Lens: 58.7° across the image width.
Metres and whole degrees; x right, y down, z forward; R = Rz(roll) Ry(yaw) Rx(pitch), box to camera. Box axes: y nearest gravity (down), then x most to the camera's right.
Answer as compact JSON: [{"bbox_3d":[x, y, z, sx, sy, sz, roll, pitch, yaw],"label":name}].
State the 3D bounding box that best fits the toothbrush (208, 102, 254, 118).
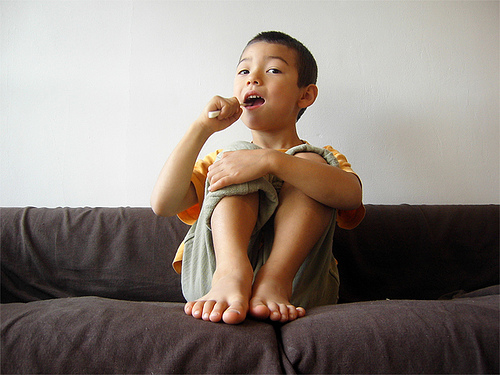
[{"bbox_3d":[-0.066,-0.248,1.419,0.156,0.050,0.022,-19,10,-38],"label":"toothbrush"}]
